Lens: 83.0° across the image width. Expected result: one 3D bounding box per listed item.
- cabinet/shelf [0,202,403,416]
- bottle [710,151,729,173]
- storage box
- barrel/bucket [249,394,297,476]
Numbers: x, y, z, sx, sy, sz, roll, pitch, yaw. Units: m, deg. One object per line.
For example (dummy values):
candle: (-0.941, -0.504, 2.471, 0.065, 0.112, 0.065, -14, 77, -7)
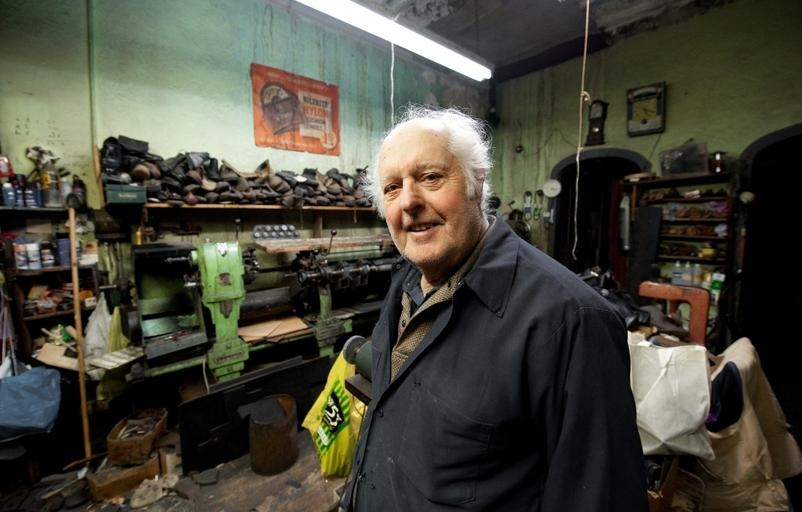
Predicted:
cabinet/shelf: (-2.591, 0.548, 5.813, 3.984, 1.921, 2.241, -2, 3, -25)
bottle: (4.467, -1.317, 6.343, 0.183, 0.312, 0.284, 1, 8, 35)
storage box: (-2.944, 2.123, 4.922, 0.815, 0.681, 0.600, -8, 8, -36)
barrel/bucket: (-1.436, 1.993, 5.084, 0.662, 0.634, 0.487, -10, 24, -44)
